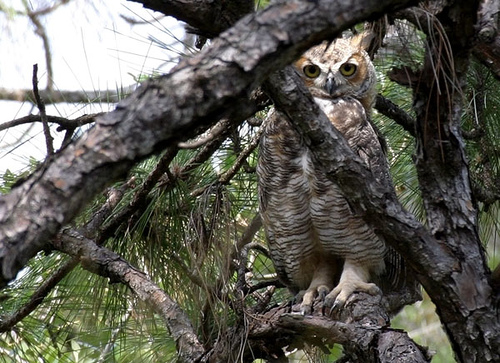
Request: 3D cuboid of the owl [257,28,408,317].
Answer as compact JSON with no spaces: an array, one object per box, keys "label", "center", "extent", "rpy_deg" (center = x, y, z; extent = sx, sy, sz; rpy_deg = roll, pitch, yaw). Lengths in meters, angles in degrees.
[{"label":"owl","center":[0.467,-0.123,4.562],"extent":[0.792,2.109,1.117],"rpy_deg":[-2,-51,12]}]
